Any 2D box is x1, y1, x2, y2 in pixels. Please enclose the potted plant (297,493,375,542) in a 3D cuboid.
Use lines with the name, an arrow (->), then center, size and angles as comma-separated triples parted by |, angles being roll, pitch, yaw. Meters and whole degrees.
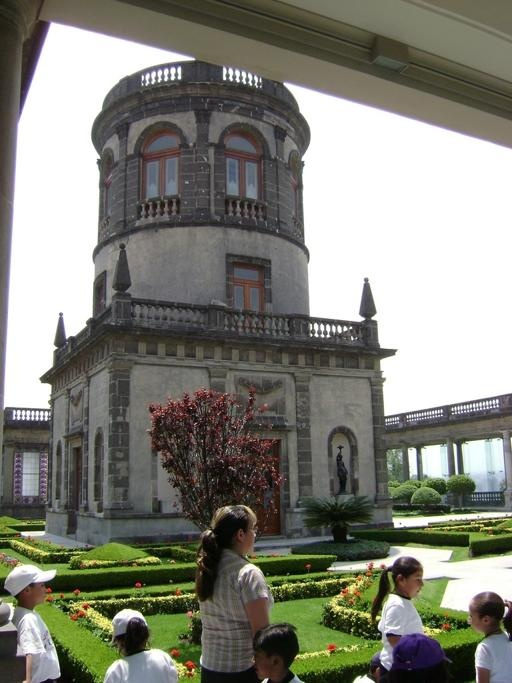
potted plant -> 2.105, 4.567, 18.735 | 1.604, 1.072, 2.080 | -4, -11, 4

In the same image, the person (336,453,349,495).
person -> 2.671, 4.037, 22.490 | 0.336, 1.383, 0.607 | -4, -12, 6

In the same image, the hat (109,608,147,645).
hat -> -0.752, 1.674, 4.269 | 0.174, 0.130, 0.231 | 1, -11, -11

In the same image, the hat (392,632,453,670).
hat -> 0.933, 1.695, 3.988 | 0.264, 0.135, 0.187 | 2, -13, -31

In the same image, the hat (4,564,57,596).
hat -> -1.490, 1.560, 4.788 | 0.380, 0.151, 0.236 | -10, 1, -29
